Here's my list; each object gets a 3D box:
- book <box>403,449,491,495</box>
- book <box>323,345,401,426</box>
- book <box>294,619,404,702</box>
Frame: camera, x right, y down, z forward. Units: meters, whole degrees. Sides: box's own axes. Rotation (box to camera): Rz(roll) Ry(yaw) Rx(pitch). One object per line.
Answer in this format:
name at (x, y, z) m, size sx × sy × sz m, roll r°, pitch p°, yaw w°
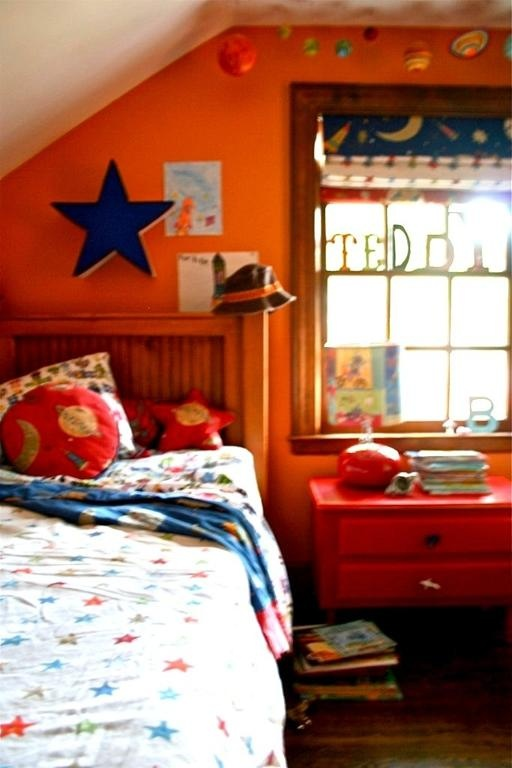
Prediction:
book at (0.672, 0.296, 2.295) m, size 0.187 × 0.079 × 0.159 m, roll -1°, pitch 5°, yaw -2°
book at (0.385, -0.001, 2.460) m, size 0.304 × 0.305 × 0.289 m, roll -2°, pitch 1°, yaw 17°
book at (0.252, 0.799, 1.922) m, size 0.290 × 0.121 × 0.247 m, roll 2°, pitch 6°, yaw -1°
